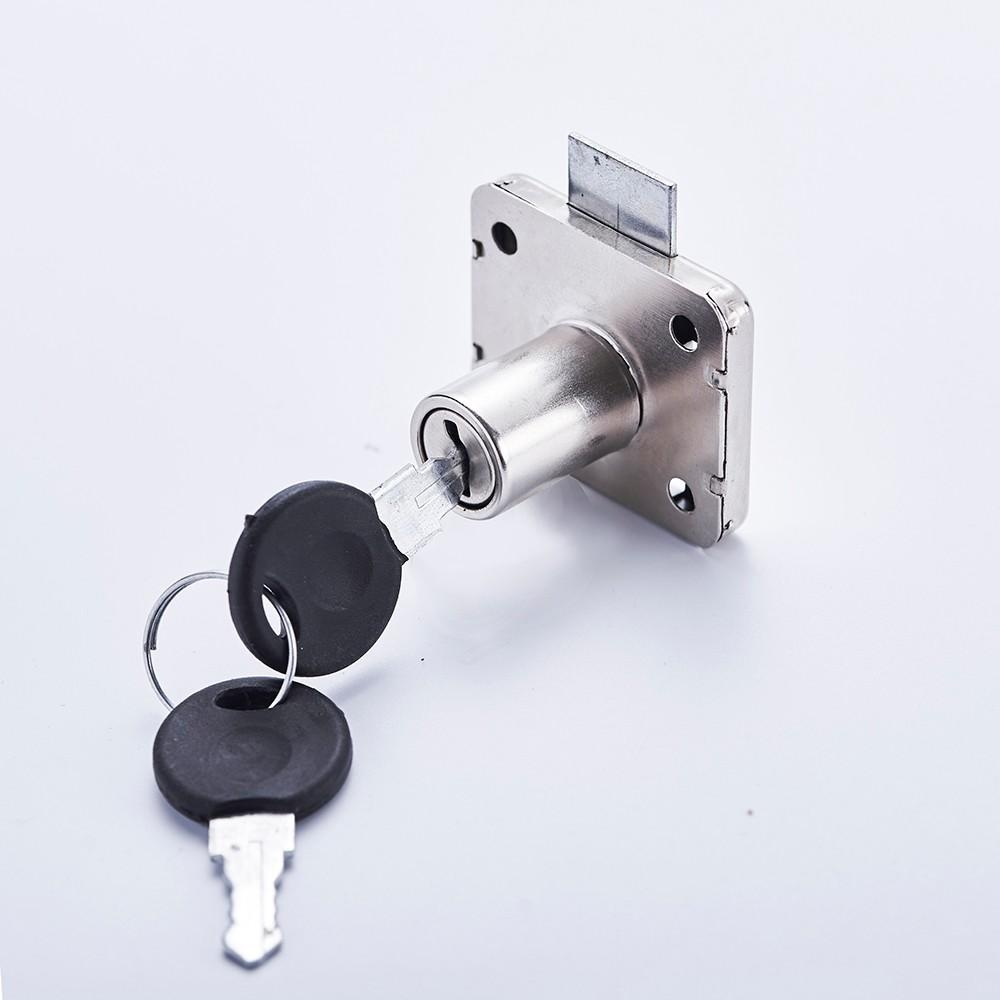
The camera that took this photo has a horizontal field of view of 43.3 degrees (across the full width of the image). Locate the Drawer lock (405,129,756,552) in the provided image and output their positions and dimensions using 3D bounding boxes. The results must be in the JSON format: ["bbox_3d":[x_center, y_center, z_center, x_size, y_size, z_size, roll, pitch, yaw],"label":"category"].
[{"bbox_3d":[0.094,-0.124,1.297,0.203,0.294,0.320,-29,-46,-35],"label":"Drawer lock"}]

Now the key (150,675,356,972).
[{"bbox_3d":[-0.203,0.260,1.039,0.167,0.313,0.047,1,-60,-12],"label":"key"}]
